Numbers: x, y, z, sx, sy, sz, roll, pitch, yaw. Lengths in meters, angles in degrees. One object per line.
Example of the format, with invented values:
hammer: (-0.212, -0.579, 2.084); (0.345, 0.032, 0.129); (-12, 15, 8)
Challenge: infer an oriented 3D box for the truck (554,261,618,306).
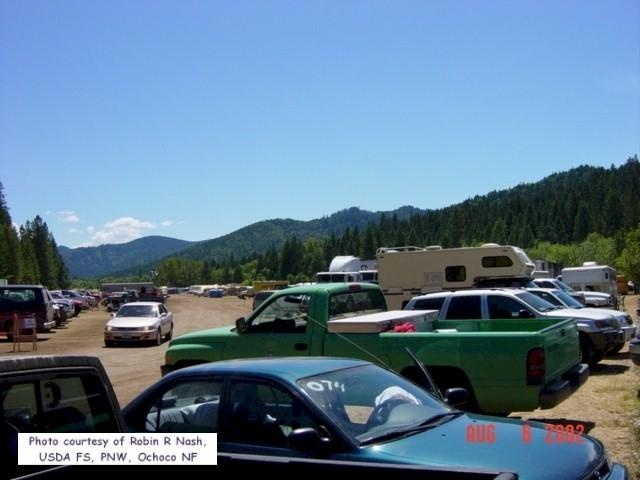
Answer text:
truck: (20.303, 3.502, 39.563); (2.580, 3.105, 4.899); (-8, -11, 37)

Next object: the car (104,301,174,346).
car: (-6.957, 3.337, 21.439); (1.444, 1.014, 2.858); (-1, -7, -1)
